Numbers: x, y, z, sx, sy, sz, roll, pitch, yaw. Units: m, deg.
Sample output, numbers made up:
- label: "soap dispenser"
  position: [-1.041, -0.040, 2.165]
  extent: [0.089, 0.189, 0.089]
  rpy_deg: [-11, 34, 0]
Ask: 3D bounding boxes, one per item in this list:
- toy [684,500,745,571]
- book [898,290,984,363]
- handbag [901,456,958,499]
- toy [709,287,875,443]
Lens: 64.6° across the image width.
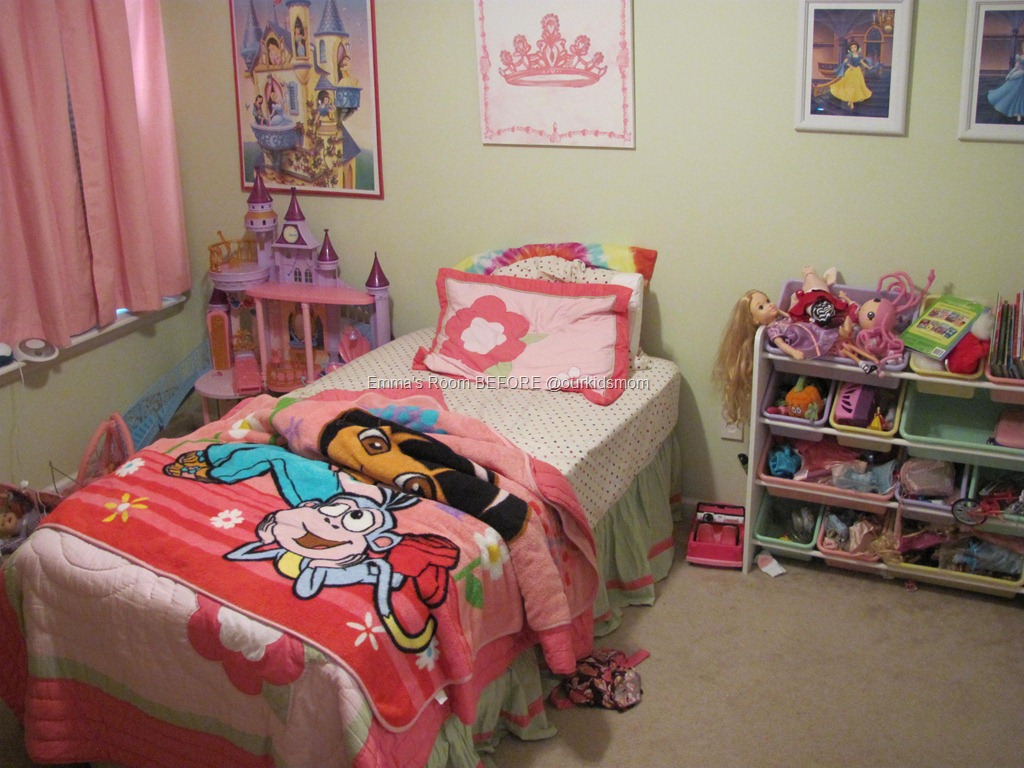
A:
- label: "toy"
  position: [0.891, 0.606, 3.525]
  extent: [0.235, 0.254, 0.296]
  rpy_deg: [5, 22, 13]
- label: "book"
  position: [1.597, -0.220, 3.010]
  extent: [0.192, 0.068, 0.326]
  rpy_deg: [18, 56, 41]
- label: "handbag"
  position: [1.580, 0.350, 3.082]
  extent: [0.165, 0.061, 0.159]
  rpy_deg: [12, 39, 15]
- label: "toy"
  position: [1.152, -0.149, 3.308]
  extent: [0.533, 0.565, 0.409]
  rpy_deg: [5, 49, 27]
